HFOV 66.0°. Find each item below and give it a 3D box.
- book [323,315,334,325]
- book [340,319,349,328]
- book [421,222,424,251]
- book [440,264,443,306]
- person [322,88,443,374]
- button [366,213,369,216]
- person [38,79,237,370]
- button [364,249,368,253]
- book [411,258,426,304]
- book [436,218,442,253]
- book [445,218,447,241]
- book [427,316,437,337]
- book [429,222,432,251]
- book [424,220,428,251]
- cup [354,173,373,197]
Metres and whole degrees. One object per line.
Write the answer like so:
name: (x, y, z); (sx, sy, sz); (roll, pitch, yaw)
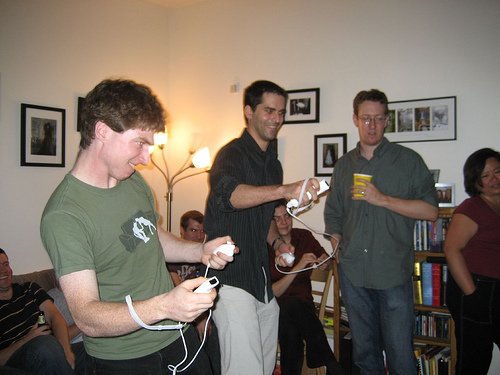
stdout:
book: (0.761, 1.288, 3.746); (0.092, 0.057, 0.083); (2, 5, 23)
book: (0.878, 1.268, 3.557); (0.055, 0.056, 0.116); (-2, 5, -22)
book: (1.511, 0.431, 3.386); (0.018, 0.251, 0.034); (-2, 5, -16)
book: (1.651, 0.844, 3.331); (0.023, 0.352, 0.038); (1, 5, 13)
person: (0.949, 0.325, 2.897); (0.809, 2.138, 0.433); (2, 6, 28)
button: (0.871, 0.202, 2.864); (0.017, 0.019, 0.003); (1, 5, 16)
person: (-0.518, 0.238, 1.928); (0.725, 1.581, 0.673); (2, 6, 26)
button: (0.855, 0.466, 2.850); (0.028, 0.029, 0.007); (-2, -4, 31)
book: (1.504, 0.854, 3.477); (0.126, 0.249, 0.247); (-6, -16, 20)
book: (1.632, 0.416, 3.339); (0.051, 0.296, 0.059); (2, 5, 22)
book: (1.687, 0.333, 3.330); (0.014, 0.133, 0.034); (2, 6, 27)
book: (1.590, 1.215, 3.371); (0.097, 0.200, 0.154); (-1, -8, 19)
book: (1.572, 0.429, 3.369); (0.022, 0.250, 0.032); (1, 5, 14)
book: (1.538, 0.428, 3.380); (0.031, 0.255, 0.032); (1, 5, 13)
cup: (0.810, -0.023, 2.840); (0.137, 0.164, 0.141); (6, 6, -1)
